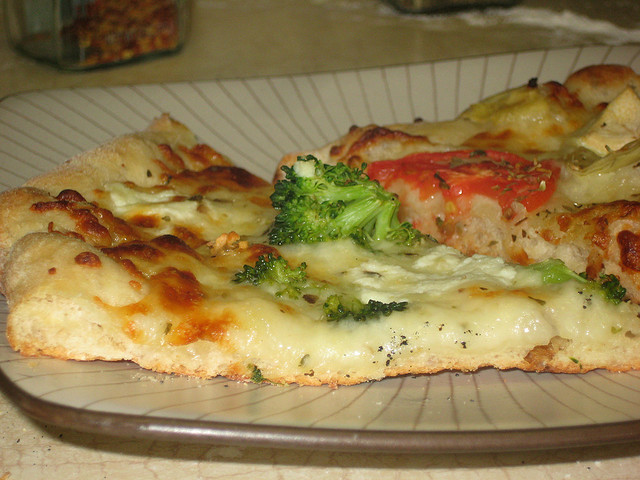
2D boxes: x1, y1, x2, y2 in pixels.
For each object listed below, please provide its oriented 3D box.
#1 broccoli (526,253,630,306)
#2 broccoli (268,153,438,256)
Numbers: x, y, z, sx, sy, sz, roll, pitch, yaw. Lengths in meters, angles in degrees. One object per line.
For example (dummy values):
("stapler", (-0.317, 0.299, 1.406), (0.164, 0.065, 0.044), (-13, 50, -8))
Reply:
("broccoli", (1.019, 0.166, 2.657), (0.521, 0.115, 0.128), (20, 73, 9))
("broccoli", (0.079, -0.154, 2.956), (0.930, 0.291, 0.379), (3, 43, 1))
